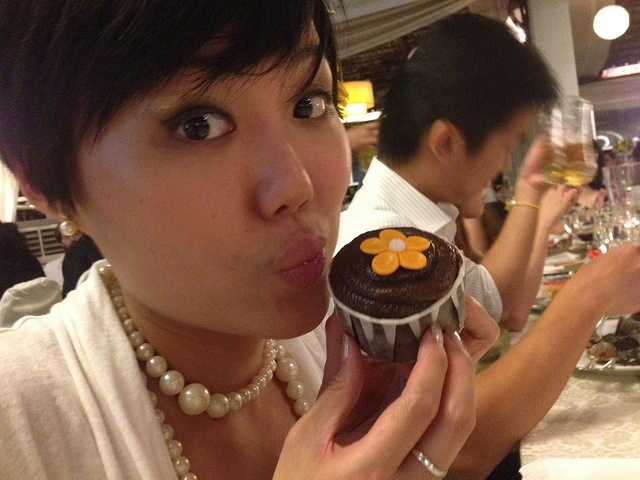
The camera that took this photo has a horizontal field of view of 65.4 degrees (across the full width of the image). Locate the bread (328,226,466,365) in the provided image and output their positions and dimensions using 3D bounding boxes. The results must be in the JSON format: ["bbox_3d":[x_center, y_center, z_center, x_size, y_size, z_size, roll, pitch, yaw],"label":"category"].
[{"bbox_3d":[0.130,0.095,0.886,0.228,0.169,0.238,-3,28,14],"label":"bread"}]

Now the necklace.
[{"bbox_3d":[-0.270,0.315,1.118,0.357,0.139,0.493,-14,53,-43],"label":"necklace"}]
